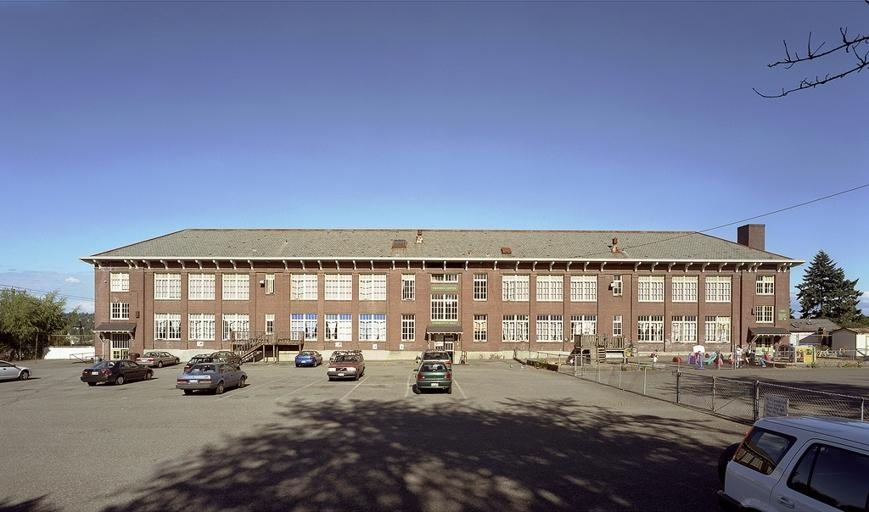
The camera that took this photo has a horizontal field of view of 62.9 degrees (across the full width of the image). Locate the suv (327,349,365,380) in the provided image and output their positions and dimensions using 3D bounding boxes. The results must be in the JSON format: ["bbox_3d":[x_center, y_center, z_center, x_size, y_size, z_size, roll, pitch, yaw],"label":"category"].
[{"bbox_3d":[-7.454,9.404,60.529,2.483,1.991,4.263,1,4,1],"label":"suv"}]

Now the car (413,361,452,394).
[{"bbox_3d":[-0.068,9.087,53.293,2.677,1.822,5.886,0,-2,0],"label":"car"}]

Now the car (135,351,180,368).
[{"bbox_3d":[-28.412,10.536,73.336,1.998,1.146,4.195,-1,-11,-3],"label":"car"}]

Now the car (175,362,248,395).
[{"bbox_3d":[-16.882,9.246,53.780,5.009,2.295,2.139,-3,6,-38],"label":"car"}]

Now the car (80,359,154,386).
[{"bbox_3d":[-26.046,9.458,58.949,2.304,1.292,4.851,-1,-2,19],"label":"car"}]
